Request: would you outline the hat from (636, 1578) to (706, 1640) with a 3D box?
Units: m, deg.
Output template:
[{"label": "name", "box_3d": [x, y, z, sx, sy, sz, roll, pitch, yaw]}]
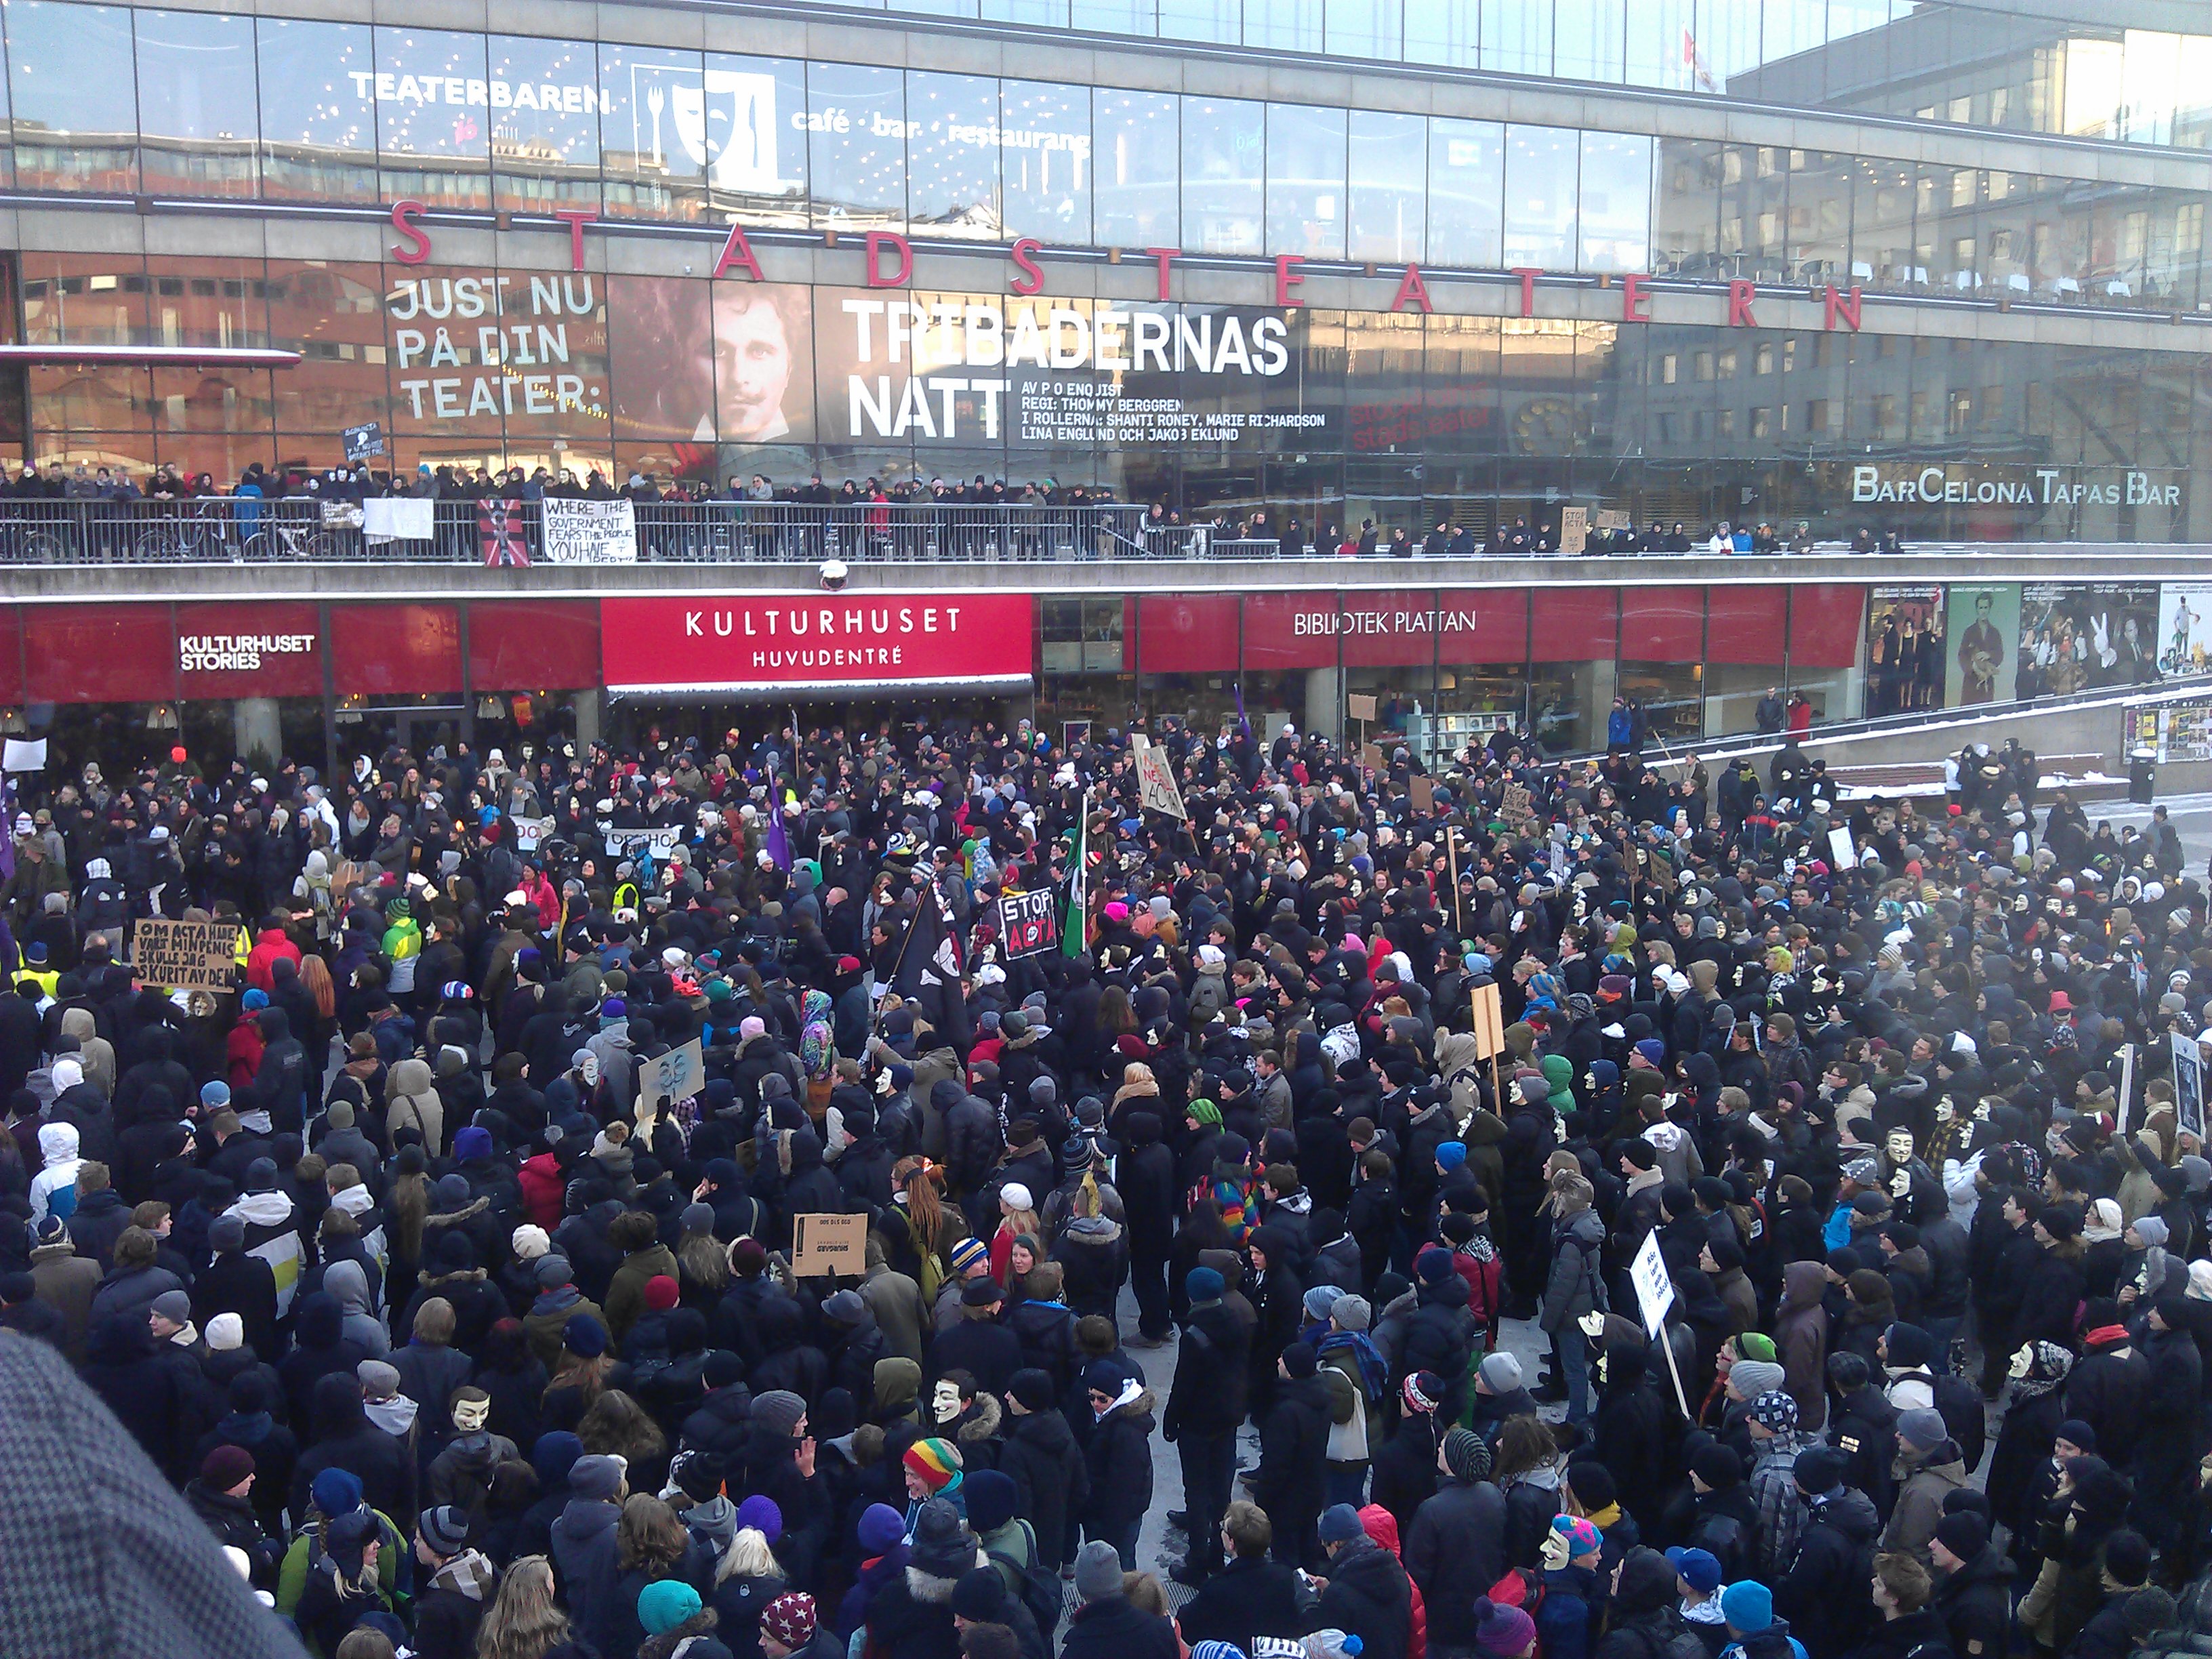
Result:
[{"label": "hat", "box_3d": [-4.061, 7.171, 27.803, 0.573, 0.453, 0.425, 15, 24, 24]}]

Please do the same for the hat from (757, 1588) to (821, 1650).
[{"label": "hat", "box_3d": [-2.865, 7.302, 27.869, 0.530, 0.482, 0.431, 21, 7, 16]}]

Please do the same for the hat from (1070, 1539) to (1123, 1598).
[{"label": "hat", "box_3d": [-0.083, 6.837, 28.170, 0.423, 0.538, 0.538, 4, 41, -4]}]

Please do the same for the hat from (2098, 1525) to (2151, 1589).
[{"label": "hat", "box_3d": [9.765, 6.877, 28.654, 0.427, 0.518, 0.551, 2, 18, 11]}]

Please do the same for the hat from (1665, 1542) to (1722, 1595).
[{"label": "hat", "box_3d": [5.543, 7.002, 28.405, 0.369, 0.477, 0.470, 8, 13, -20]}]

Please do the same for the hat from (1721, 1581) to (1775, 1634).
[{"label": "hat", "box_3d": [6.007, 7.200, 28.095, 0.494, 0.413, 0.381, -7, 25, 10]}]

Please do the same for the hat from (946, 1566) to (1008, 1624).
[{"label": "hat", "box_3d": [-1.192, 7.118, 27.840, 0.396, 0.456, 0.501, 8, 18, -14]}]

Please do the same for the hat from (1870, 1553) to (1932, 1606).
[{"label": "hat", "box_3d": [7.457, 7.009, 28.332, 0.407, 0.507, 0.527, -5, 34, -11]}]
